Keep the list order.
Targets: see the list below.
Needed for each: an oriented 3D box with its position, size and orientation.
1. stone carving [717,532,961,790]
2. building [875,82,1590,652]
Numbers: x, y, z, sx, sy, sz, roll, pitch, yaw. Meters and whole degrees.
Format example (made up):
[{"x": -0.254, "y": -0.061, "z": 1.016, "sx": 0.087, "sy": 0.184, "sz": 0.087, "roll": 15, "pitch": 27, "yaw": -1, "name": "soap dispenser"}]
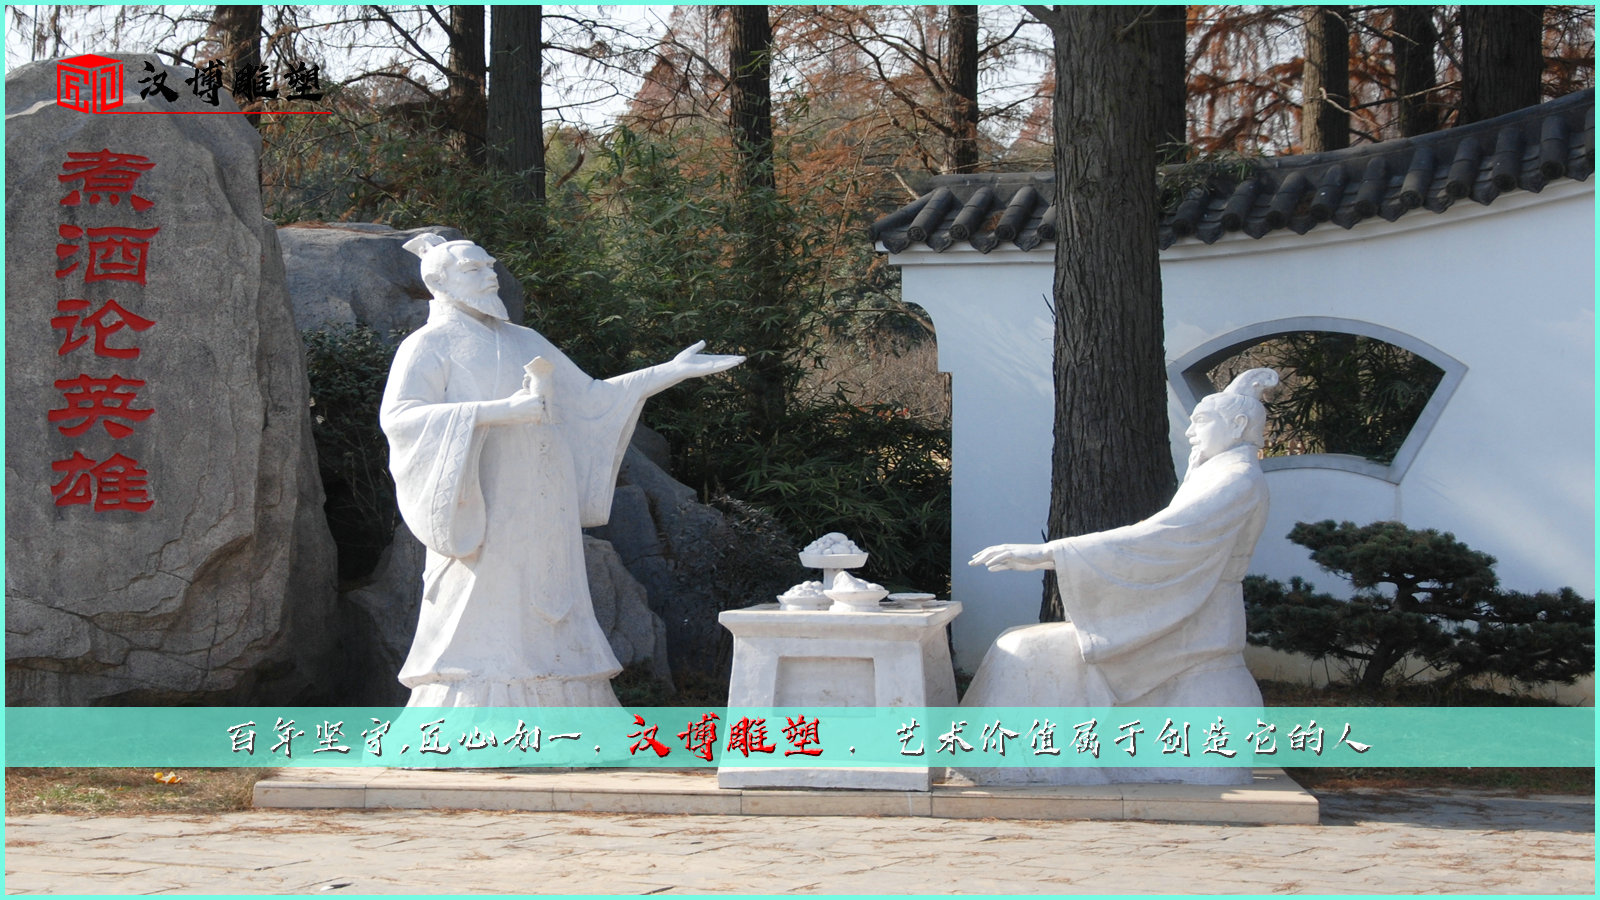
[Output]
[{"x": 0.006, "y": 1.634, "z": 20.932, "sx": 2.170, "sy": 1.778, "sz": 1.865, "roll": 0, "pitch": 0, "yaw": 10, "name": "stone carving"}, {"x": 3.615, "y": -0.517, "z": 22.414, "sx": 6.539, "sy": 3.419, "sz": 0.951, "roll": -3, "pitch": -4, "yaw": 27, "name": "building"}]
